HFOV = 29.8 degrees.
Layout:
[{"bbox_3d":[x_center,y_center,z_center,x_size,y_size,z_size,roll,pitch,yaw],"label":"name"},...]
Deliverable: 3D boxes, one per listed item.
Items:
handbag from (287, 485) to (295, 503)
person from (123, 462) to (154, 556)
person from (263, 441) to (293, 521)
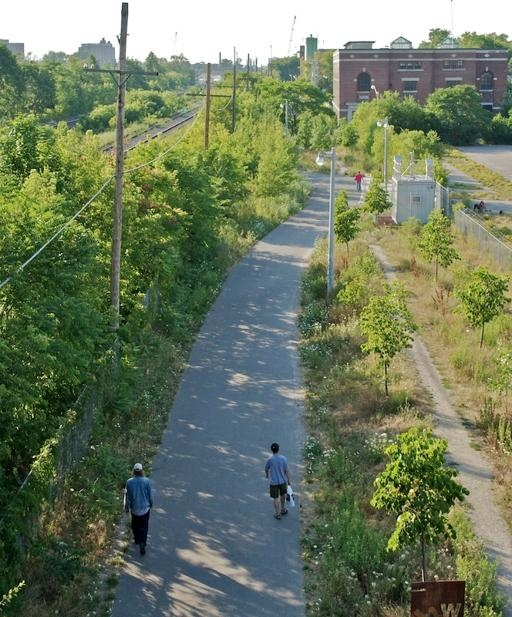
[{"bbox_3d":[0.610,3.287,17.074,0.073,0.185,0.291,-4,46,6],"label":"handbag"},{"bbox_3d":[-1.987,3.334,16.329,0.402,1.605,0.482,-2,21,-9],"label":"person"},{"bbox_3d":[0.380,3.046,17.236,0.407,1.419,0.574,-2,11,0],"label":"person"}]
